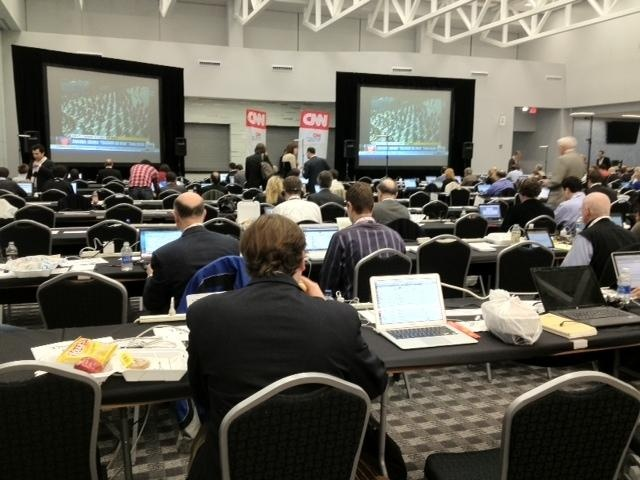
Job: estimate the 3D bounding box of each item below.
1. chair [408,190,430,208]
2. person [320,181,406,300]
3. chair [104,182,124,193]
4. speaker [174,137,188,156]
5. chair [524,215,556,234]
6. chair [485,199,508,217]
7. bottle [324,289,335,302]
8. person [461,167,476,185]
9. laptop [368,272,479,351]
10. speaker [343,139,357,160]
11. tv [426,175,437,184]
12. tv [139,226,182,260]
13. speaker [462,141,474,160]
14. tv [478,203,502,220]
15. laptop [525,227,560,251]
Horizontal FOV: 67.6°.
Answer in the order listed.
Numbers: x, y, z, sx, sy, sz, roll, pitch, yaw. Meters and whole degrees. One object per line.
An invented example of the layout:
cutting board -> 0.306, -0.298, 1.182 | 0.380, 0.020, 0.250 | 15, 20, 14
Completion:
chair -> 2.050, -0.963, 10.061 | 0.353, 0.322, 0.517 | -2, 8, 2
person -> 0.349, 0.002, 4.053 | 0.714, 0.946, 0.734 | 3, 15, 17
chair -> -4.358, -1.142, 10.265 | 0.390, 0.303, 0.391 | -2, 8, 1
speaker -> -4.166, -2.813, 14.299 | 0.299, 0.517, 0.224 | -2, 10, -18
chair -> 2.415, -0.184, 5.349 | 0.164, 0.286, 0.189 | -1, 18, -4
chair -> 2.867, -0.530, 7.867 | 0.266, 0.266, 0.380 | -9, 11, -19
bottle -> 0.070, 0.343, 3.056 | 0.062, 0.086, 0.191 | -1, -10, 5
person -> 4.130, -1.770, 13.328 | 0.380, 0.460, 1.639 | 4, 11, 18
laptop -> 0.519, 0.389, 2.482 | 0.395, 0.245, 0.389 | -3, 9, -20
speaker -> 0.902, -2.904, 15.266 | 0.353, 0.597, 0.640 | 6, 11, 27
tv -> 3.548, -1.984, 15.533 | 0.429, 0.270, 0.306 | -3, 11, -14
tv -> -1.390, -0.012, 4.162 | 0.392, 0.262, 0.285 | -1, -1, -23
speaker -> 5.137, -3.177, 16.872 | 0.334, 0.546, 0.245 | 2, 10, 9
tv -> 2.600, -0.430, 7.452 | 0.423, 0.295, 0.287 | 0, 3, -10
laptop -> 2.186, -0.034, 4.771 | 0.295, 0.192, 0.255 | 0, 4, -14
